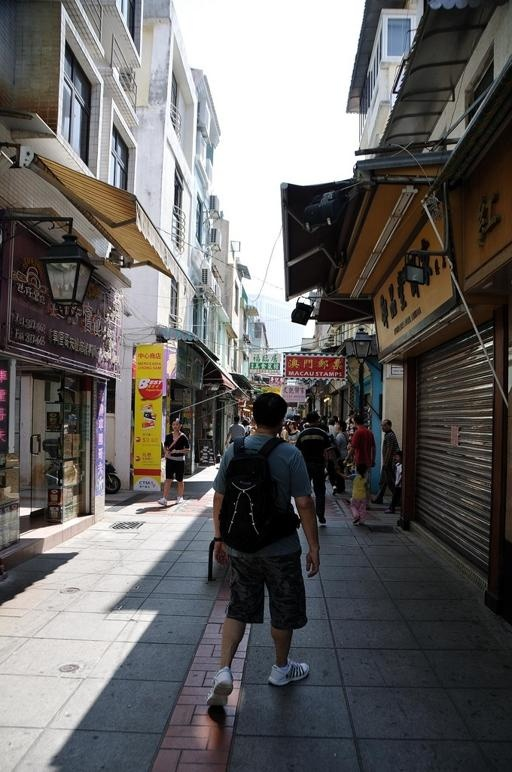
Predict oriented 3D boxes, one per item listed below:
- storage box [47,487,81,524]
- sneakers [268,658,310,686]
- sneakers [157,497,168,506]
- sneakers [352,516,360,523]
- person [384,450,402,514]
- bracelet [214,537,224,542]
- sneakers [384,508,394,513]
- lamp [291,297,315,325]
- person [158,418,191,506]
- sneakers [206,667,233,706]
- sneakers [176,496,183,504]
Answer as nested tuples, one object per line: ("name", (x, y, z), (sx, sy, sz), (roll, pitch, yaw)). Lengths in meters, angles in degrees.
("storage box", (-2.747, 1.702, 7.820), (0.149, 0.489, 0.472), (-1, -9, 12))
("sneakers", (0.183, 1.592, 3.104), (0.250, 0.138, 0.103), (-1, 2, -33))
("sneakers", (-1.826, 2.272, 10.792), (0.096, 0.193, 0.255), (-7, -23, 20))
("sneakers", (1.585, 2.133, 8.724), (0.051, 0.116, 0.220), (0, -6, -24))
("person", (2.501, 1.757, 10.003), (0.269, 1.107, 1.485), (-3, -5, 12))
("bracelet", (-0.204, 0.840, 2.975), (0.051, 0.032, 0.057), (3, 0, 0))
("sneakers", (2.432, 2.282, 10.076), (0.167, 0.135, 0.088), (2, -2, -6))
("lamp", (0.824, -1.222, 9.862), (0.407, 0.501, 0.972), (-4, -5, 9))
("person", (-1.754, 1.571, 11.638), (0.586, 1.700, 1.978), (-2, -5, -9))
("sneakers", (-0.170, 1.444, 2.643), (0.078, 0.107, 0.230), (7, -47, -5))
("sneakers", (-1.551, 2.328, 11.186), (0.074, 0.120, 0.273), (-2, -12, 3))
